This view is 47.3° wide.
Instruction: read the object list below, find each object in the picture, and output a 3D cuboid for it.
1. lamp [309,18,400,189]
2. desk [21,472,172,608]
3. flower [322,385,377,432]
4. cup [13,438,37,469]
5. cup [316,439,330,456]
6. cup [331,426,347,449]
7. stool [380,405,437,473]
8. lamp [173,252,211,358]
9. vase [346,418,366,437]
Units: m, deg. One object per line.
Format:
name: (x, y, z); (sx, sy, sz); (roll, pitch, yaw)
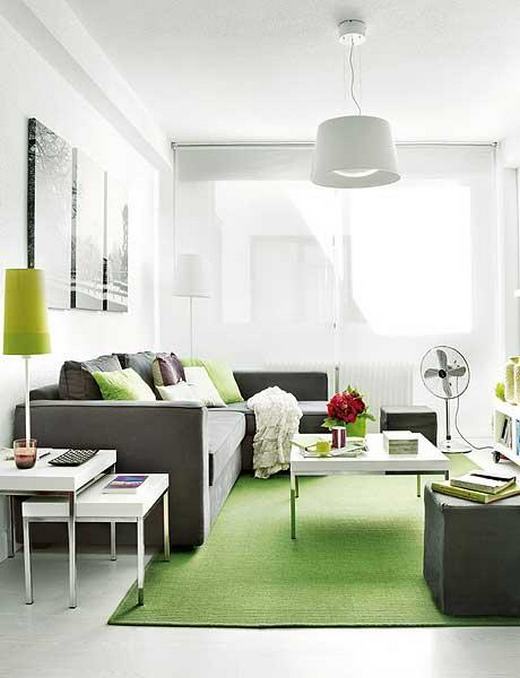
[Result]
lamp: (0.455, -1.154, 2.916); (0.418, 0.788, 0.439); (1, 5, 23)
desk: (-0.565, 0.760, 2.160); (0.323, 0.382, 0.603); (0, 0, 5)
flower: (0.449, 0.355, 3.079); (0.237, 0.260, 0.243); (-15, -1, 7)
cup: (-0.813, 0.392, 2.047); (0.080, 0.104, 0.088); (0, -8, -1)
cup: (0.283, 0.489, 2.677); (0.054, 0.082, 0.057); (0, -6, 0)
cup: (0.368, 0.463, 2.804); (0.079, 0.097, 0.082); (1, -1, 0)
stool: (1.083, 0.684, 4.195); (0.433, 0.464, 0.325); (0, -4, -3)
lamp: (-0.562, -0.302, 4.924); (0.271, 0.904, 0.587); (0, -1, -6)
vase: (0.508, 0.463, 3.137); (0.091, 0.106, 0.097); (-1, -13, 16)
